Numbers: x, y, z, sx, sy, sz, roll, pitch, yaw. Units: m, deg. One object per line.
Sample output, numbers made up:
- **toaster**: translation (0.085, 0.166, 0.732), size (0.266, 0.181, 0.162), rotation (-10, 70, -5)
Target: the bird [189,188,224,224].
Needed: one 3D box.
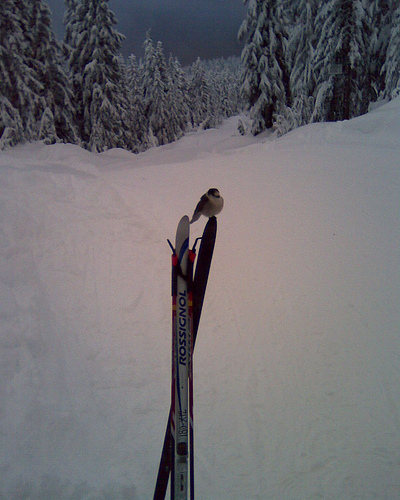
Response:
- **bird**: translation (0.091, -0.722, 9.466), size (0.463, 0.633, 0.320), rotation (6, 11, 26)
